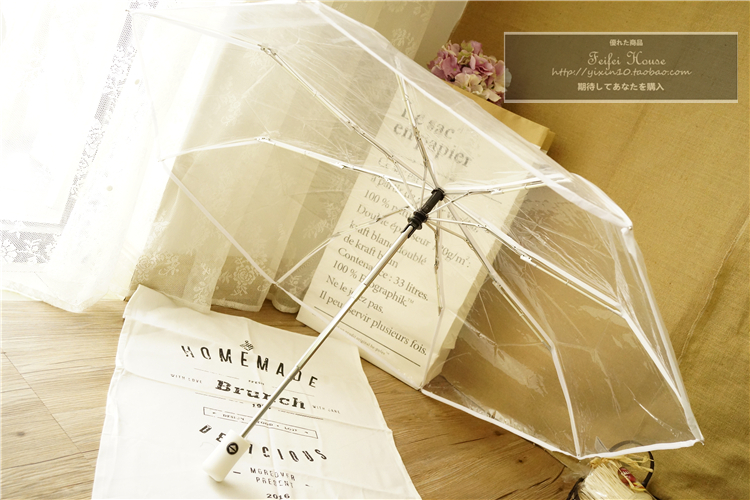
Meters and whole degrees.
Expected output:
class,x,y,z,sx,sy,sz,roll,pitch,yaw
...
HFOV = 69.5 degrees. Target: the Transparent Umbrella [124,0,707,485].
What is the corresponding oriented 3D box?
class,x,y,z,sx,sy,sz,roll,pitch,yaw
Transparent Umbrella,0.206,-0.063,1.987,1.538,1.490,0.910,29,48,18
